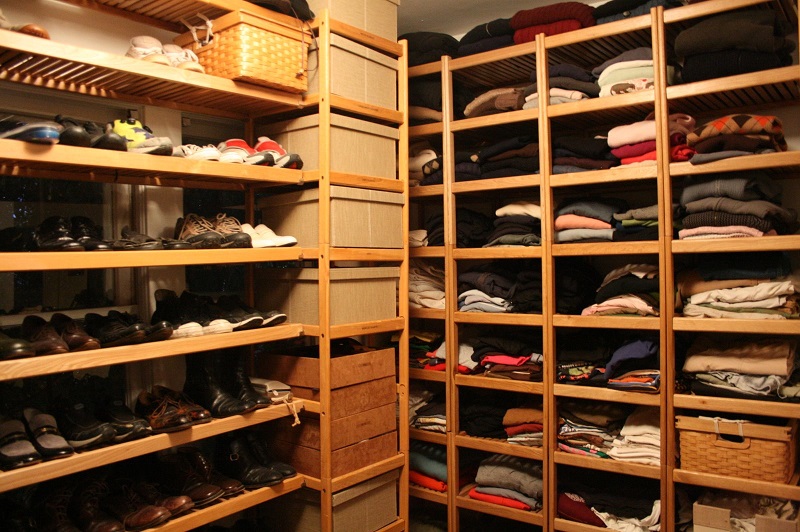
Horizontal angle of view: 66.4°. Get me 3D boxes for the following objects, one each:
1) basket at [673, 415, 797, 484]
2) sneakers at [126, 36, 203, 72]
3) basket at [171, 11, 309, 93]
[{"bbox_3d":[1.719,0.916,3.098,0.496,0.205,0.402,-1,-3,36],"label":"basket"},{"bbox_3d":[-1.131,-1.012,2.946,0.304,0.074,0.228,16,10,29],"label":"sneakers"},{"bbox_3d":[-0.779,-1.079,3.171,0.524,0.229,0.446,2,5,3],"label":"basket"}]
